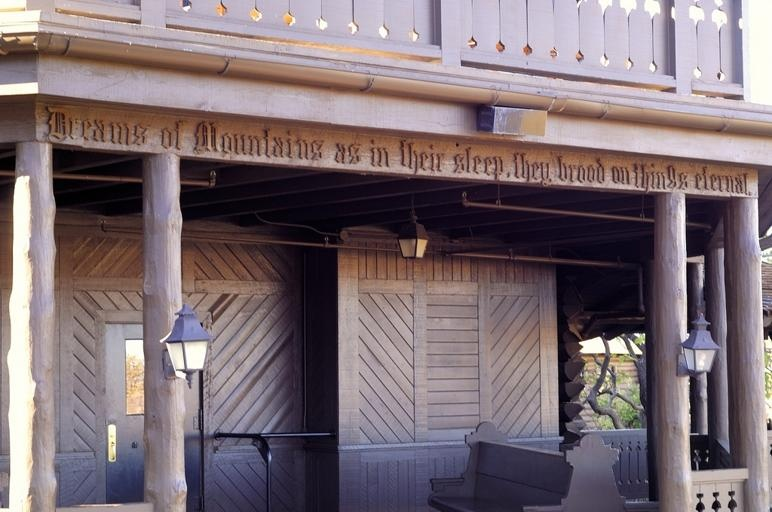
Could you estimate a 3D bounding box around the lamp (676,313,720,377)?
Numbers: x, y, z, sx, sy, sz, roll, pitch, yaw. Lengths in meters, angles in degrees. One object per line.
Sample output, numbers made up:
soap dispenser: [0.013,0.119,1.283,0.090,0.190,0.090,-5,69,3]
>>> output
lamp: [3.515,1.006,16.107,0.387,0.706,0.307,1,-9,-8]

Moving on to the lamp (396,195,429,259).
lamp: [0.330,-0.357,17.427,0.348,0.756,0.335,-9,-12,43]

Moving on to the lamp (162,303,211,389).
lamp: [-2.010,0.903,14.558,0.425,0.813,0.439,-3,1,42]
